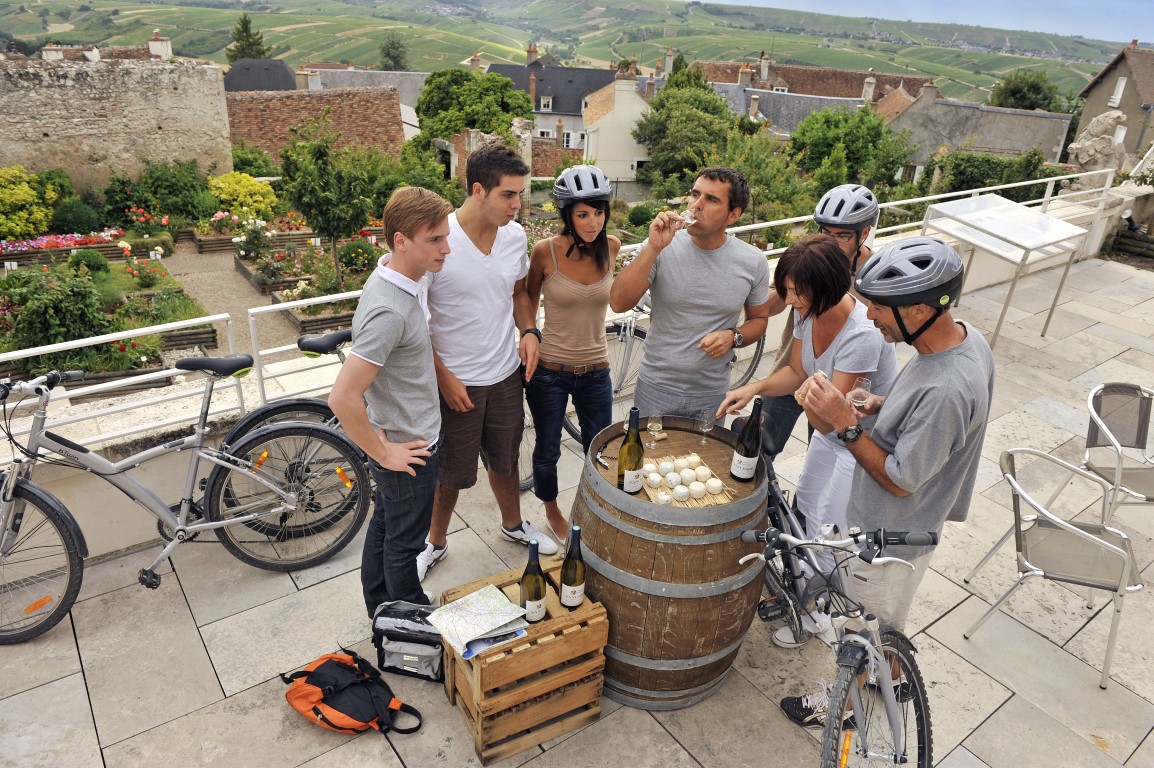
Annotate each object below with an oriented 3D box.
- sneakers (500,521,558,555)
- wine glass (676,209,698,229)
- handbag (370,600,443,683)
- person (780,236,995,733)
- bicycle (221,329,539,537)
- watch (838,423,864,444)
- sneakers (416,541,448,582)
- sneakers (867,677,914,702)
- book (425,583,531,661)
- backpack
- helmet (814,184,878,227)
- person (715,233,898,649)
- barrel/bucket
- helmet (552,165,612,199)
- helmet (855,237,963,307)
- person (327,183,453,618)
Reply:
[{"bbox_3d":[-0.315,1.044,4.848,0.412,0.165,0.146,18,34,4],"label":"sneakers"},{"bbox_3d":[0.643,-0.988,4.265,0.106,0.083,0.110,-1,54,-1],"label":"wine glass"},{"bbox_3d":[-0.902,1.498,4.228,0.450,0.415,0.309,8,6,6],"label":"handbag"},{"bbox_3d":[1.540,0.612,3.736,0.769,2.627,0.916,17,33,29],"label":"person"},{"bbox_3d":[-1.359,0.126,4.629,1.605,0.990,0.767,-8,37,-13],"label":"bicycle"},{"bbox_3d":[1.309,0.227,3.517,0.110,0.070,0.102,-33,-6,9],"label":"watch"},{"bbox_3d":[-0.936,1.152,4.749,0.097,0.123,0.286,19,42,21],"label":"sneakers"},{"bbox_3d":[1.575,1.579,3.651,0.145,0.193,0.071,2,63,34],"label":"sneakers"},{"bbox_3d":[-0.499,1.240,3.782,0.335,0.079,0.322,-19,31,-30],"label":"book"},{"bbox_3d":[-1.245,1.738,4.000,0.622,0.203,0.395,22,30,8],"label":"backpack"},{"bbox_3d":[1.719,-1.137,4.644,0.378,0.266,0.328,9,29,15],"label":"helmet"},{"bbox_3d":[1.420,0.402,4.360,1.061,2.430,0.696,8,15,17],"label":"person"},{"bbox_3d":[0.485,1.040,4.403,1.306,1.300,1.300,3,22,-1],"label":"barrel/bucket"},{"bbox_3d":[0.032,-1.162,4.146,0.309,0.189,0.225,-1,28,-2],"label":"helmet"},{"bbox_3d":[1.562,-0.528,3.442,0.471,0.293,0.354,-3,34,12],"label":"helmet"},{"bbox_3d":[-0.976,0.241,4.025,0.448,2.500,0.864,9,30,17],"label":"person"}]
